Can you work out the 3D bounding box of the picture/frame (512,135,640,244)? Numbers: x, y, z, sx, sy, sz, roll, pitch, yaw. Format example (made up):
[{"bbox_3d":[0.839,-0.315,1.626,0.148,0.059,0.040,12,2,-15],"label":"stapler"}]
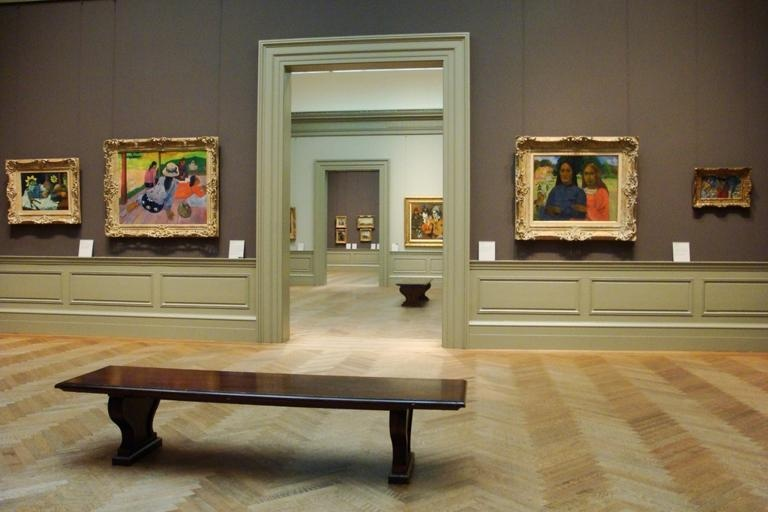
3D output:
[{"bbox_3d":[2.907,-1.012,8.157,1.607,1.358,0.161,0,3,-1],"label":"picture/frame"}]

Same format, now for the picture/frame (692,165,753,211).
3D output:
[{"bbox_3d":[4.994,-1.013,8.075,0.657,0.527,0.074,1,2,4],"label":"picture/frame"}]

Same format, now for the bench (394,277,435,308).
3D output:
[{"bbox_3d":[0.670,0.781,12.146,0.598,0.520,1.093,2,6,6],"label":"bench"}]

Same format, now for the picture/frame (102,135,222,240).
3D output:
[{"bbox_3d":[-3.436,-1.098,8.652,1.646,1.394,0.148,0,0,6],"label":"picture/frame"}]

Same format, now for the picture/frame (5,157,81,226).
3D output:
[{"bbox_3d":[-5.483,-1.055,8.886,1.109,0.942,0.098,0,2,5],"label":"picture/frame"}]
